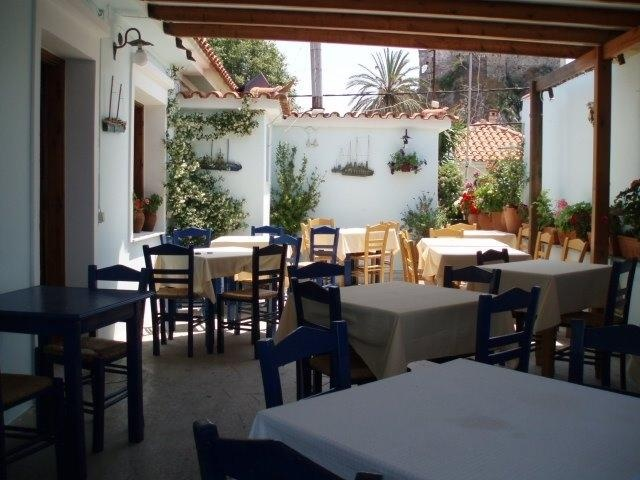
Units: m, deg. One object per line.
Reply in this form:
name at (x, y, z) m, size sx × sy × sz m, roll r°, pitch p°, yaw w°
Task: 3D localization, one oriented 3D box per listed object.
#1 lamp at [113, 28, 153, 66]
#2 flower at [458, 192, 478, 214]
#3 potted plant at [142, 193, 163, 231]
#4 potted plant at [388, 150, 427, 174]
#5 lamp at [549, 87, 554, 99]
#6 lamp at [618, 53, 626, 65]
lamp at (-2.140, -2.214, 6.131) m, size 0.430 × 0.456 × 0.301 m, roll 0°, pitch -2°, yaw 3°
flower at (2.795, -0.687, 10.002) m, size 0.331 × 0.306 × 0.352 m, roll -4°, pitch 1°, yaw 16°
potted plant at (-2.432, -0.391, 7.691) m, size 0.304 × 0.527 × 0.268 m, roll 1°, pitch -5°, yaw 44°
potted plant at (1.760, -1.592, 10.888) m, size 0.580 × 0.454 × 0.522 m, roll 0°, pitch 5°, yaw -7°
lamp at (3.210, -2.036, 7.430) m, size 0.061 × 0.161 × 0.306 m, roll 5°, pitch 9°, yaw 26°
lamp at (3.281, -1.963, 5.819) m, size 0.063 × 0.100 × 0.288 m, roll 6°, pitch 9°, yaw 30°
